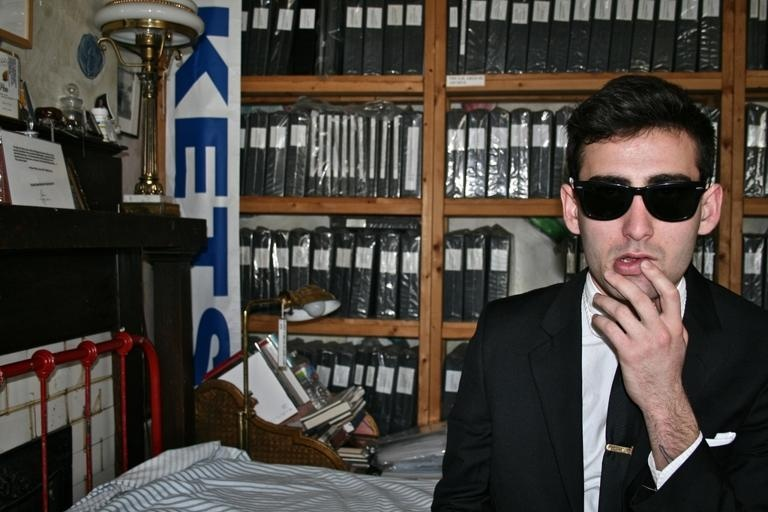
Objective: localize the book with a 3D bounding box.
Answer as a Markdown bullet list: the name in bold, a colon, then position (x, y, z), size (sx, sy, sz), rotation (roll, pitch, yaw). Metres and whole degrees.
- **book**: position (-0.455, 0.763, 3.441), size (0.768, 0.590, 0.254), rotation (27, -10, -7)

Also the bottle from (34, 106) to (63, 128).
- **bottle**: position (-1.373, -0.581, 3.002), size (0.089, 0.063, 0.088), rotation (-1, -3, 0)

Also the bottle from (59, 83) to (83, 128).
- **bottle**: position (-1.356, -0.654, 3.165), size (0.099, 0.186, 0.202), rotation (1, 2, -25)

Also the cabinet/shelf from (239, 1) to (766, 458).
- **cabinet/shelf**: position (0.484, -0.180, 3.114), size (2.064, 2.069, 0.704), rotation (1, 7, 8)
